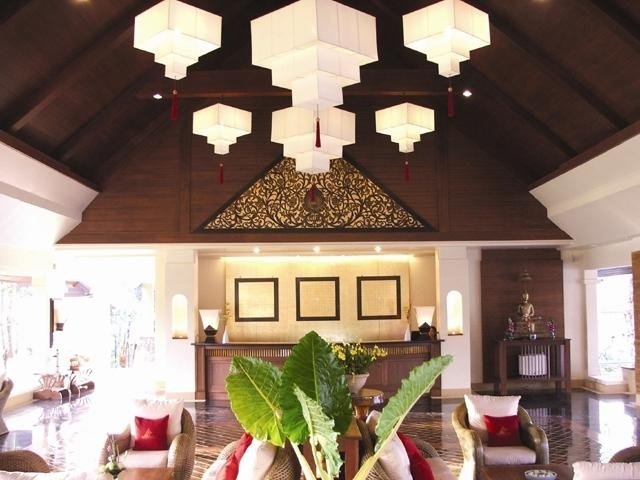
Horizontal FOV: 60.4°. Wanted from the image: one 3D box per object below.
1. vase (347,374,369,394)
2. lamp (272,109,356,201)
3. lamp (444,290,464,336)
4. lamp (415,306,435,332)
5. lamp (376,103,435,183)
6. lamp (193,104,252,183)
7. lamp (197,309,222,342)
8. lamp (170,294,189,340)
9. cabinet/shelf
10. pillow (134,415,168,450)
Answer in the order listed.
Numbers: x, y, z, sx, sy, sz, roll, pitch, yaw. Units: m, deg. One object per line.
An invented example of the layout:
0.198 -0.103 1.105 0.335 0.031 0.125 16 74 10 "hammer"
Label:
0.496 1.843 7.054 0.231 0.255 0.785 -3 -13 9 "vase"
-0.024 -1.318 7.926 0.959 1.093 0.949 11 -16 -41 "lamp"
2.843 1.546 11.571 0.345 0.935 0.518 -4 -12 14 "lamp"
2.201 1.653 11.540 0.375 0.489 0.442 2 -10 6 "lamp"
1.504 -1.573 8.815 0.819 1.440 0.852 -6 -10 41 "lamp"
-1.522 -1.708 8.524 0.715 0.603 0.621 -10 -15 35 "lamp"
-2.396 1.832 11.714 0.532 0.963 0.594 -2 -11 4 "lamp"
-2.900 1.607 11.402 0.369 0.916 0.452 2 -12 -14 "lamp"
4.441 2.624 11.510 1.047 1.123 0.503 1 -2 2 "cabinet/shelf"
-2.078 2.385 6.756 0.283 0.310 0.116 -2 -17 -4 "pillow"
